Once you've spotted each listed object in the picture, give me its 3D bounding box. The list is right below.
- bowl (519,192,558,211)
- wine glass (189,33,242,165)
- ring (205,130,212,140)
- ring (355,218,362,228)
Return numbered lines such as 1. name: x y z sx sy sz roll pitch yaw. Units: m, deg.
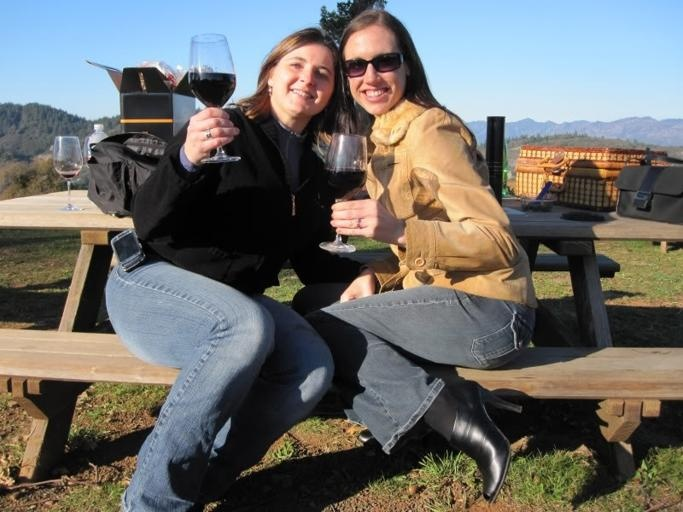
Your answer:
1. bowl: 1.437 -0.394 4.042 0.187 0.079 0.238 0 12 -2
2. wine glass: -0.572 -0.811 2.387 0.195 0.316 0.290 -3 13 -14
3. ring: -0.551 -0.505 2.245 0.029 0.035 0.035 4 -27 -7
4. ring: 0.071 -0.144 2.358 0.034 0.039 0.013 1 -5 2
